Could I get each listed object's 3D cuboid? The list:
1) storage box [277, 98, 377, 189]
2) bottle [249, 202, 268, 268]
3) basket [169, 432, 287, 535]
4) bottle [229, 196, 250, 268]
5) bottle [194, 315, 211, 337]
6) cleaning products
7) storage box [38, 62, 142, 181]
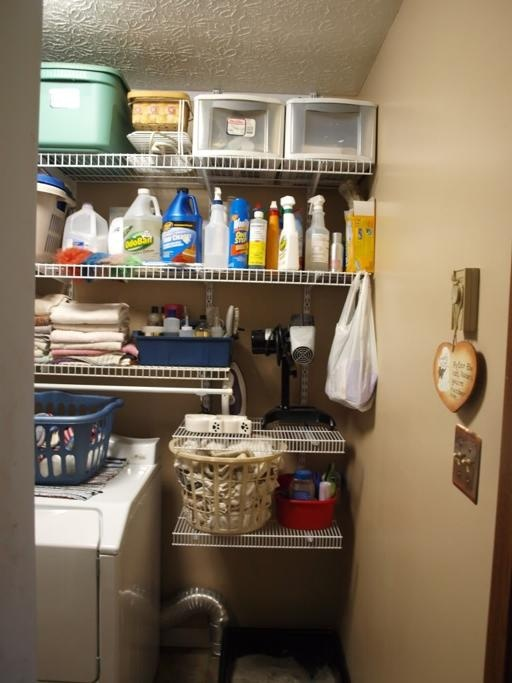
[{"bbox_3d":[0.228,-0.659,1.720,0.259,0.202,0.186,6,45,9],"label":"storage box"},{"bbox_3d":[0.002,-0.300,1.686,0.052,0.179,0.050,0,8,0],"label":"bottle"},{"bbox_3d":[-0.090,0.360,1.626,0.270,0.205,0.261,0,1,-44],"label":"basket"},{"bbox_3d":[-0.050,-0.309,1.684,0.063,0.195,0.068,0,8,0],"label":"bottle"},{"bbox_3d":[-0.170,-0.047,1.799,0.051,0.117,0.057,0,2,-13],"label":"bottle"},{"bbox_3d":[-0.171,-0.320,1.745,0.833,0.265,0.246,-1,8,-4],"label":"cleaning products"},{"bbox_3d":[-0.473,-0.606,1.878,0.338,0.352,0.514,1,5,-2],"label":"storage box"}]
